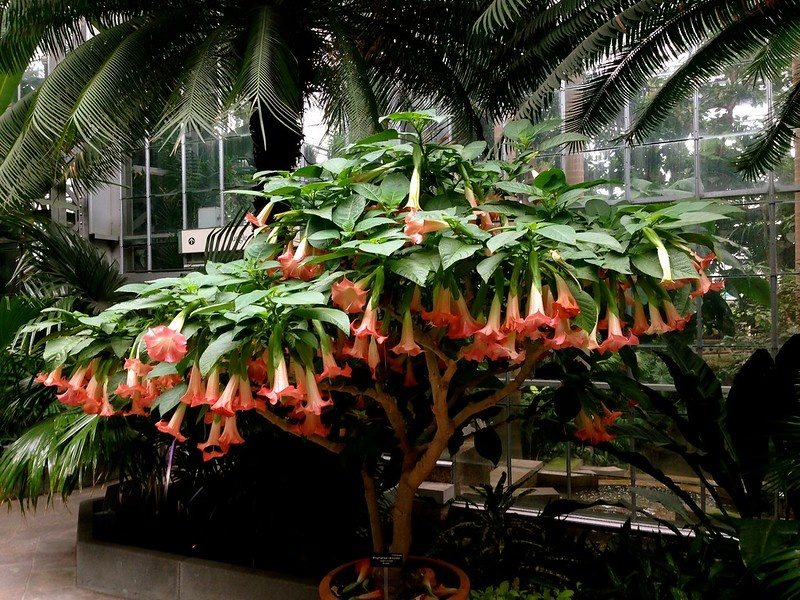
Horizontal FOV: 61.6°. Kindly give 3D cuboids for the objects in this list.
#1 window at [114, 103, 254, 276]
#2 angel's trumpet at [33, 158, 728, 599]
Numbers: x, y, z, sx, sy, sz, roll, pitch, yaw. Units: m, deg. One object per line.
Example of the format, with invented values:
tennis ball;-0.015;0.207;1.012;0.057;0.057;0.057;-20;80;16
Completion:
window;-2.696;-1.424;8.584;2.371;2.387;0.134;-2;-8;18
angel's trumpet;-0.037;0.356;3.205;2.770;2.262;1.300;-1;-2;3
